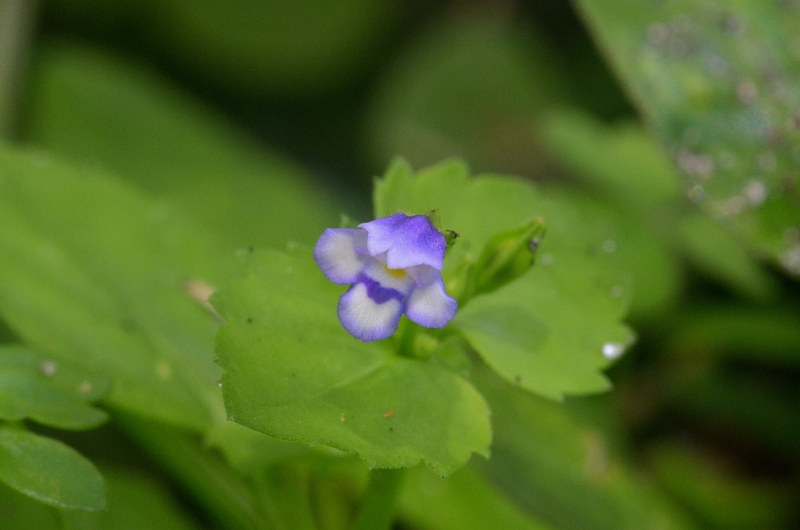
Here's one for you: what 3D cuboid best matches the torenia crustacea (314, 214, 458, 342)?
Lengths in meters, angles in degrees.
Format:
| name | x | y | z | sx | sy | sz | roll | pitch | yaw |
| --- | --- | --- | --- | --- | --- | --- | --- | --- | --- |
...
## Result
| name | x | y | z | sx | sy | sz | roll | pitch | yaw |
| --- | --- | --- | --- | --- | --- | --- | --- | --- | --- |
| torenia crustacea | -0.039 | 0.022 | 1.879 | 0.313 | 0.298 | 0.161 | 9 | 20 | 32 |
